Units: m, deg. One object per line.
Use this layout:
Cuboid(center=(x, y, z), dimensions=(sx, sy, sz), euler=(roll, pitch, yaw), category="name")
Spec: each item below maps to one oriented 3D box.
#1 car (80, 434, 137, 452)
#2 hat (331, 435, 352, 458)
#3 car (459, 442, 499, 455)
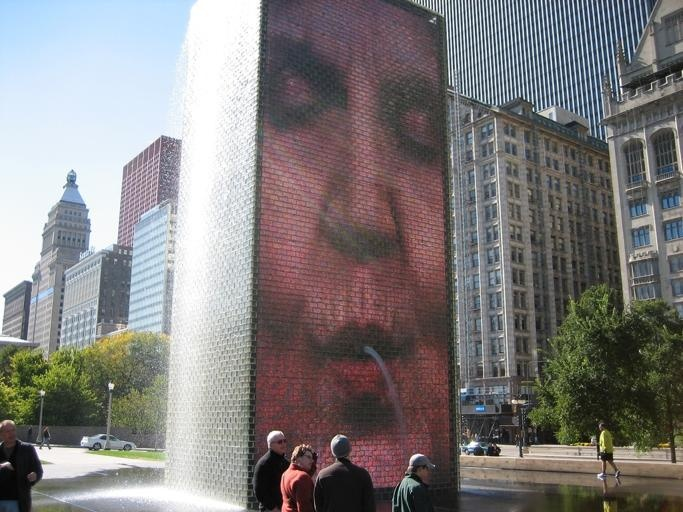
Cuboid(center=(-18.984, 15.099, 57.072), dimensions=(2.976, 1.475, 4.444), euler=(15, -25, -42), category="car")
Cuboid(center=(0.005, 4.435, 16.478), dimensions=(0.422, 0.460, 0.653), euler=(0, 1, 6), category="hat")
Cuboid(center=(10.795, 15.042, 54.483), dimensions=(1.761, 0.988, 3.184), euler=(1, -7, -10), category="car")
